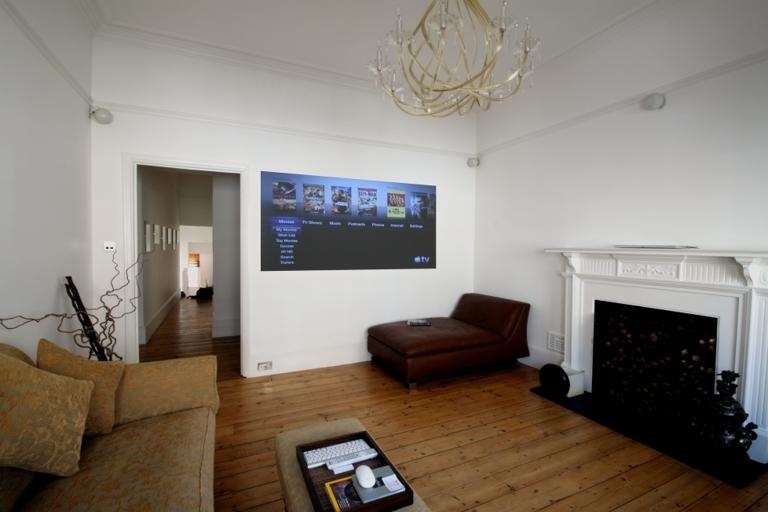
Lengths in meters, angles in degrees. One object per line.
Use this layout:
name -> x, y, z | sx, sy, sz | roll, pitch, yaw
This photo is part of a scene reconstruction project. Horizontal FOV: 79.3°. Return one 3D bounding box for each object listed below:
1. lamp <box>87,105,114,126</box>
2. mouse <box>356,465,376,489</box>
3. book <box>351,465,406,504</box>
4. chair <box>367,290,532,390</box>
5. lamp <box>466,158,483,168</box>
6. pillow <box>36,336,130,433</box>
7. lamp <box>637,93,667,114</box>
lamp -> -3.109, -1.548, 5.079 | 0.214, 0.165, 0.069 | 6, -32, -26
mouse -> -0.137, 1.619, 3.417 | 0.152, 0.147, 0.091 | 0, 6, -5
book -> -0.015, 1.644, 3.404 | 0.315, 0.097, 0.228 | 4, 9, -33
chair -> 0.803, 1.045, 5.929 | 1.543, 0.710, 1.126 | 0, 0, -24
lamp -> 1.322, -1.401, 6.887 | 0.208, 0.144, 0.093 | 0, 6, 0
pillow -> -2.419, 1.032, 3.750 | 0.286, 0.726, 0.723 | -13, -27, 32
lamp -> 2.816, -1.635, 4.892 | 0.269, 0.194, 0.133 | 6, 8, 44
